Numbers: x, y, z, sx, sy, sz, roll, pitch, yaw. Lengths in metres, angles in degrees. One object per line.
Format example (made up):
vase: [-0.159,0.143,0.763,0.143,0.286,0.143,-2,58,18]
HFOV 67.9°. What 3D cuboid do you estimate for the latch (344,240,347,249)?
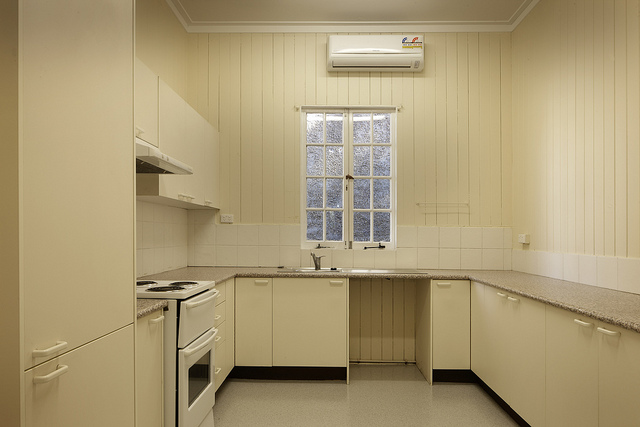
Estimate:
latch: [0.264,0.319,4.930,0.026,0.080,0.034,0,10,2]

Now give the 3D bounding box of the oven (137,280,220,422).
oven: [-1.019,1.056,3.481,0.458,1.080,0.618,0,10,2]

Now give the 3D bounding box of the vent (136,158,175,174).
vent: [-1.247,-0.348,3.579,0.256,0.158,0.466,-4,12,-21]

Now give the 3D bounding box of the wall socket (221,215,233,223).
wall socket: [-0.964,0.052,4.908,0.120,0.090,0.065,0,3,2]

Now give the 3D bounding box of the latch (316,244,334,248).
latch: [0.056,0.338,4.934,0.139,0.047,0.035,-1,-6,3]

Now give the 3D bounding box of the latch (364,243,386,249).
latch: [0.553,0.347,4.947,0.254,0.092,0.073,0,-6,4]
